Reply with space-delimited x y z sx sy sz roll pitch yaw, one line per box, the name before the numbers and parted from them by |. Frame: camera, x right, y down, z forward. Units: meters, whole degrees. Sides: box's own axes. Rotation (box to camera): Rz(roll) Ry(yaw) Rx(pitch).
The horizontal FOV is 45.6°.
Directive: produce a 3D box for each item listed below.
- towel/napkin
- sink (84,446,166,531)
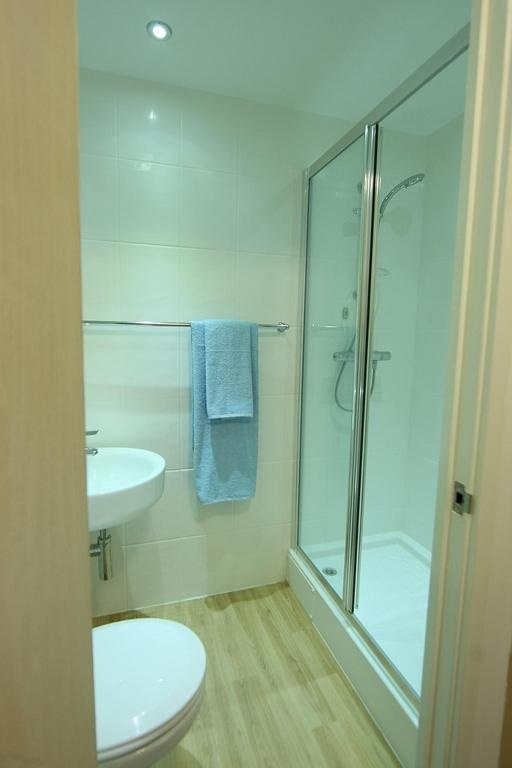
towel/napkin | -0.097 0.092 1.988 0.225 0.600 0.097 -3 10 -16
sink | -0.350 0.297 1.628 0.200 0.112 0.290 -6 10 21
